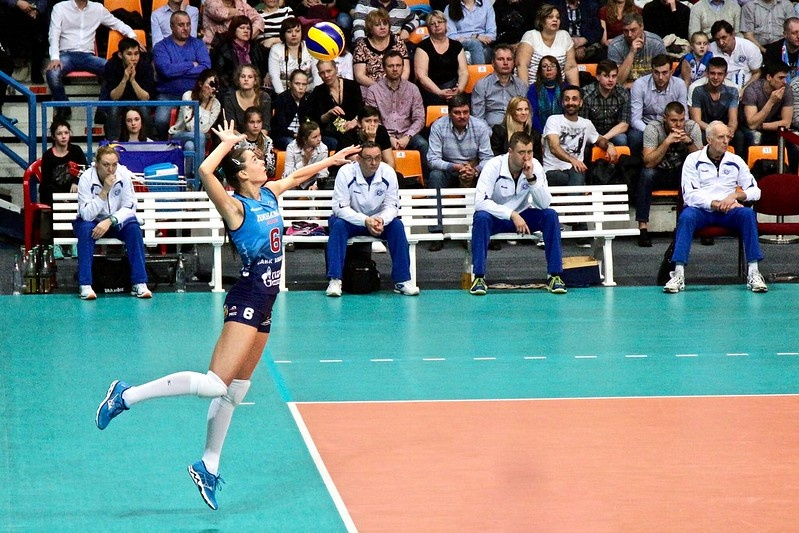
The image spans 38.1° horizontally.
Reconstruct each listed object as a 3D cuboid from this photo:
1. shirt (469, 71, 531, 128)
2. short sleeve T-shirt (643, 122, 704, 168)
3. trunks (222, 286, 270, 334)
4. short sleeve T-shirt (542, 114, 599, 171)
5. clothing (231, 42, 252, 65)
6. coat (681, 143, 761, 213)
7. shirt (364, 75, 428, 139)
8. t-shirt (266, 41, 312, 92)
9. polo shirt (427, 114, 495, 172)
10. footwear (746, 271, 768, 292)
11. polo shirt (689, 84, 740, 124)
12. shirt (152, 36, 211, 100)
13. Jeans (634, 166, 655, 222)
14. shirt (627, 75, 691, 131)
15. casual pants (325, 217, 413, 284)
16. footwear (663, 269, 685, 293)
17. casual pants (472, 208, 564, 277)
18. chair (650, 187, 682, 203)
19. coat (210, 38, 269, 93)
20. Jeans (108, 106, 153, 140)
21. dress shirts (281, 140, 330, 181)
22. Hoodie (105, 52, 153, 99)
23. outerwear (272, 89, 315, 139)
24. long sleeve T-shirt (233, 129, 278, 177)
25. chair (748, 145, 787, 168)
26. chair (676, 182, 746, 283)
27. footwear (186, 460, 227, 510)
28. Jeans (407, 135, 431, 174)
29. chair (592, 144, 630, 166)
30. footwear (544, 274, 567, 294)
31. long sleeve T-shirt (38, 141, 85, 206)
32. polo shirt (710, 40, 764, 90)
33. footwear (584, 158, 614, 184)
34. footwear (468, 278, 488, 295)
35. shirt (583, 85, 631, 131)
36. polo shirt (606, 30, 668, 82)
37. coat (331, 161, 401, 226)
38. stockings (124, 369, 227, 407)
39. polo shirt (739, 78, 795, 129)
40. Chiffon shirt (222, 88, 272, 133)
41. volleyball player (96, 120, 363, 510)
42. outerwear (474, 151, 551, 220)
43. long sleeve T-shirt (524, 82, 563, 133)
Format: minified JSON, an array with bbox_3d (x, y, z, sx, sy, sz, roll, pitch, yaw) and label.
[{"bbox_3d":[1.544,-2.569,17.634,1.033,0.806,0.487,-7,23,-16],"label":"shirt"},{"bbox_3d":[3.978,-1.740,16.806,0.777,0.822,0.771,-1,21,9],"label":"short sleeve T-shirt"},{"bbox_3d":[-1.226,0.363,9.414,0.415,0.399,0.280,-2,15,-5],"label":"trunks"},{"bbox_3d":[2.529,-1.823,17.016,0.988,0.855,0.486,-7,21,-25],"label":"short sleeve T-shirt"},{"bbox_3d":[-2.467,-3.346,18.078,0.297,0.485,0.154,-8,2,-17],"label":"clothing"},{"bbox_3d":[4.366,-1.170,15.597,1.019,0.910,0.800,0,12,15],"label":"coat"},{"bbox_3d":[0.069,-2.346,17.539,1.178,1.079,0.808,-6,18,-17],"label":"shirt"},{"bbox_3d":[-1.606,-3.039,17.774,0.746,0.882,0.572,-7,-1,-14],"label":"t-shirt"},{"bbox_3d":[0.889,-1.716,16.716,0.966,0.855,0.643,2,20,2],"label":"polo shirt"},{"bbox_3d":[4.654,0.200,15.144,0.212,0.274,0.330,-13,19,-39],"label":"footwear"},{"bbox_3d":[4.806,-2.477,17.648,0.875,0.789,0.465,-1,8,-4],"label":"polo shirt"},{"bbox_3d":[-3.375,-3.115,17.847,0.831,0.879,0.540,-8,25,-28],"label":"shirt"},{"bbox_3d":[3.655,-1.062,16.764,0.275,0.834,0.278,-15,36,-21],"label":"Jeans"},{"bbox_3d":[3.981,-2.507,17.693,0.925,0.849,0.639,0,34,-4],"label":"shirt"},{"bbox_3d":[-0.429,-0.263,15.546,0.970,1.120,0.943,0,-7,-4],"label":"casual pants"},{"bbox_3d":[3.646,0.170,15.273,0.206,0.309,0.413,11,19,38],"label":"footwear"},{"bbox_3d":[1.608,-0.333,15.663,0.982,1.215,1.029,0,-1,0],"label":"casual pants"},{"bbox_3d":[3.930,-1.089,17.093,0.504,0.177,0.316,2,26,10],"label":"chair"},{"bbox_3d":[-2.516,-3.264,18.026,0.932,0.878,0.350,-3,-5,-18],"label":"coat"},{"bbox_3d":[-3.934,-2.099,16.778,0.570,0.771,0.459,-1,-2,-10],"label":"Jeans"},{"bbox_3d":[-1.293,-1.593,16.388,0.721,0.479,0.856,2,-9,-1],"label":"dress shirts"},{"bbox_3d":[-4.227,-2.859,17.445,0.442,0.721,0.622,26,23,35],"label":"Hoodie"},{"bbox_3d":[-1.522,-2.254,17.189,0.666,0.759,0.620,4,18,-17],"label":"outerwear"},{"bbox_3d":[-1.970,-1.667,16.240,0.566,0.196,0.595,-13,-8,-13],"label":"long sleeve T-shirt"},{"bbox_3d":[5.506,-1.682,17.283,0.433,0.431,0.393,0,1,-4],"label":"chair"},{"bbox_3d":[4.438,-0.604,15.754,1.039,1.652,1.379,1,2,9],"label":"chair"},{"bbox_3d":[-1.527,1.692,9.049,0.220,0.444,0.161,-26,-2,1],"label":"footwear"},{"bbox_3d":[0.320,-1.674,17.211,0.506,0.658,0.520,-1,-5,-1],"label":"Jeans"},{"bbox_3d":[3.093,-1.672,16.931,0.415,0.255,0.306,0,1,-5],"label":"chair"},{"bbox_3d":[2.085,0.234,15.296,0.142,0.153,0.340,-2,6,-13],"label":"footwear"},{"bbox_3d":[-4.734,-1.270,16.344,0.567,0.866,0.644,26,35,30],"label":"long sleeve T-shirt"},{"bbox_3d":[5.508,-3.331,18.940,0.794,0.816,0.450,7,49,30],"label":"polo shirt"},{"bbox_3d":[2.912,-1.369,16.733,0.415,0.371,0.447,3,15,14],"label":"footwear"},{"bbox_3d":[1.034,0.257,15.196,0.228,0.244,0.276,0,15,4],"label":"footwear"},{"bbox_3d":[3.084,-2.386,17.312,0.697,0.646,0.356,-2,15,-4],"label":"shirt"},{"bbox_3d":[3.825,-3.339,18.652,1.012,0.917,0.553,1,20,11],"label":"polo shirt"},{"bbox_3d":[-0.436,-0.977,15.362,0.972,0.900,0.880,-4,27,-25],"label":"coat"},{"bbox_3d":[-1.798,0.964,9.214,0.538,0.174,0.395,-8,-9,4],"label":"stockings"},{"bbox_3d":[5.654,-2.492,17.678,0.757,0.703,0.428,2,24,-1],"label":"polo shirt"},{"bbox_3d":[-2.230,-2.261,16.931,0.726,0.687,0.371,-1,-6,-11],"label":"Chiffon shirt"},{"bbox_3d":[-1.476,0.293,9.586,0.896,2.844,1.810,7,16,26],"label":"volleyball player"},{"bbox_3d":[1.526,-1.045,15.492,0.968,0.825,1.009,2,6,0],"label":"outerwear"},{"bbox_3d":[2.204,-2.424,17.585,0.604,0.759,0.236,2,5,17],"label":"long sleeve T-shirt"}]
